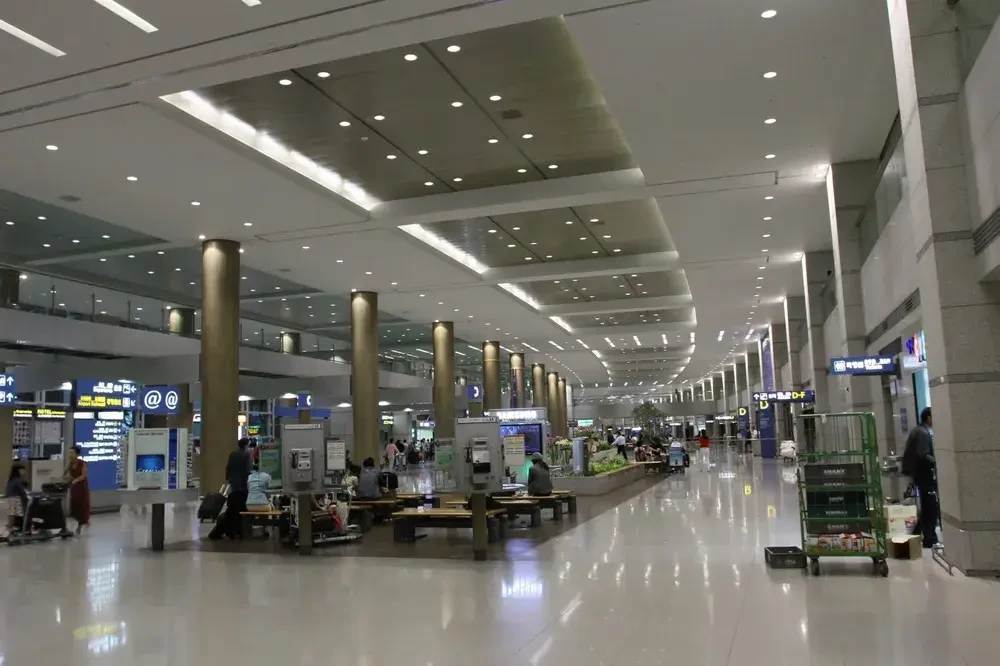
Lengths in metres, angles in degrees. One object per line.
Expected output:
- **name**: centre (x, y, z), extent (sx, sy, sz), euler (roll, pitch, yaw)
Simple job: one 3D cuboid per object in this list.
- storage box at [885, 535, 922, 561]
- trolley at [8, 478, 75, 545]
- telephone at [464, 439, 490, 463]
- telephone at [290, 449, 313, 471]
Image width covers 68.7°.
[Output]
- **storage box**: centre (6.700, 3.506, 12.113), extent (0.412, 0.333, 0.433), euler (-2, -4, 37)
- **trolley**: centre (-10.749, 4.186, 17.101), extent (1.246, 1.214, 1.358), euler (7, -14, -36)
- **telephone**: centre (-0.437, 2.271, 14.087), extent (0.447, 0.508, 0.344), euler (-1, -13, -6)
- **telephone**: centre (-3.931, 2.566, 14.720), extent (0.537, 0.521, 0.361), euler (0, -13, -4)
